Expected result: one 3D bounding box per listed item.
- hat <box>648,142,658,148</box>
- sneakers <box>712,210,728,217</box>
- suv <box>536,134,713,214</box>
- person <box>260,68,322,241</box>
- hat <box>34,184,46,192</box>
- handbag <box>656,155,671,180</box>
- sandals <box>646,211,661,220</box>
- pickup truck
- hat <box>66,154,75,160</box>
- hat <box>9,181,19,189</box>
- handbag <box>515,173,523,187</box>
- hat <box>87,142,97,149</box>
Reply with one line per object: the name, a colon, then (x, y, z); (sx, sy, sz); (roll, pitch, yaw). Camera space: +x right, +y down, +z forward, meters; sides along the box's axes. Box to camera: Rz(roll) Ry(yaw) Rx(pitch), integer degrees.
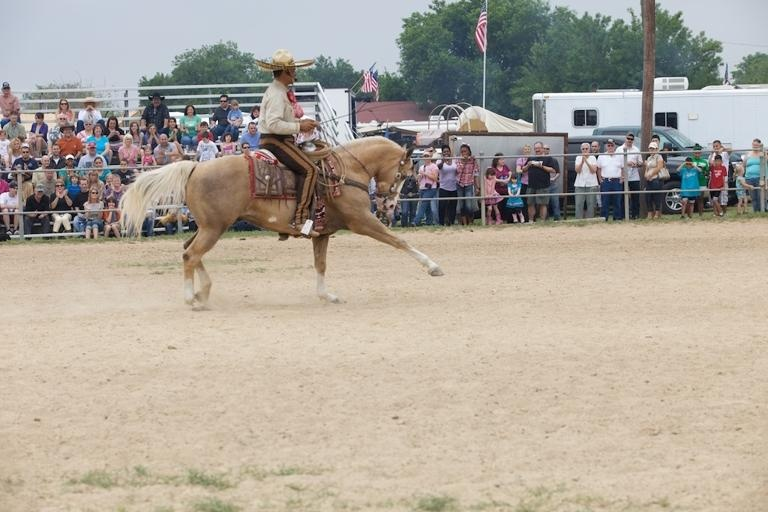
hat: (6.906, -2.833, 30.773); (0.211, 0.138, 0.297); (-4, -4, 15)
sneakers: (8.397, -1.060, 29.940); (0.154, 0.158, 0.445); (-1, 6, -8)
suv: (6.164, -2.216, 31.976); (4.406, 1.576, 2.113); (0, 3, 22)
person: (-1.561, -1.726, 20.162); (0.968, 2.800, 0.532); (-2, 6, -5)
hat: (-7.824, -1.549, 27.519); (0.184, 0.153, 0.207); (-5, -12, -16)
handbag: (6.952, -2.181, 29.915); (0.285, 0.636, 0.416); (0, 6, 13)
sandals: (6.814, -1.023, 30.186); (0.209, 0.213, 0.564); (-1, -1, 12)
pickup truck: (7.458, -2.460, 32.441); (4.302, 1.952, 2.249); (-1, 6, 13)
hat: (-7.243, -2.296, 27.870); (0.181, 0.096, 0.207); (-1, 7, -5)
hat: (-8.385, -1.611, 27.348); (0.156, 0.141, 0.183); (0, 4, -20)
handbag: (3.340, -1.890, 29.512); (0.181, 0.272, 0.141); (-4, 7, -20)
hat: (-6.755, -2.559, 27.934); (0.169, 0.105, 0.227); (4, 6, -18)
